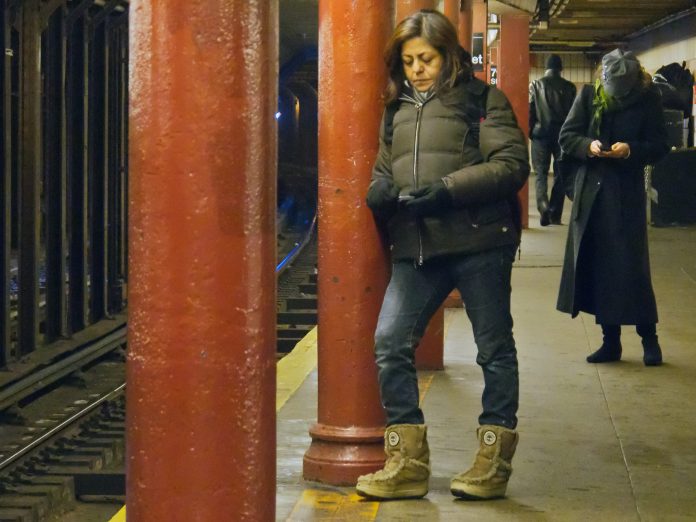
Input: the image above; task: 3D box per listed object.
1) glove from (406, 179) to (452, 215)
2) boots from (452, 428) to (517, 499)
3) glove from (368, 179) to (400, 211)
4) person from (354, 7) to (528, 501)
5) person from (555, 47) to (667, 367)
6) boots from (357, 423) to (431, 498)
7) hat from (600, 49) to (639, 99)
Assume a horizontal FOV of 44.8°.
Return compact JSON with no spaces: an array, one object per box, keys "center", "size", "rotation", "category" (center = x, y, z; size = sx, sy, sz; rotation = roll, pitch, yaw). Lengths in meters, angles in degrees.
[{"center":[0.372,-0.290,3.910],"size":[0.209,0.156,0.108],"rotation":[-2,8,6],"category":"glove"},{"center":[0.648,0.972,4.068],"size":[0.357,0.325,0.197],"rotation":[8,-7,-34],"category":"boots"},{"center":[0.175,-0.326,4.086],"size":[0.128,0.159,0.072],"rotation":[-2,6,41],"category":"glove"},{"center":[0.439,-0.064,4.118],"size":[0.916,2.326,0.882],"rotation":[-3,-10,15],"category":"person"},{"center":[1.932,-0.542,6.248],"size":[0.785,1.995,0.492],"rotation":[-1,9,19],"category":"person"},{"center":[0.217,0.980,4.094],"size":[0.373,0.334,0.191],"rotation":[1,-10,-16],"category":"boots"},{"center":[1.997,-1.381,6.247],"size":[0.301,0.366,0.328],"rotation":[4,-37,8],"category":"hat"}]
